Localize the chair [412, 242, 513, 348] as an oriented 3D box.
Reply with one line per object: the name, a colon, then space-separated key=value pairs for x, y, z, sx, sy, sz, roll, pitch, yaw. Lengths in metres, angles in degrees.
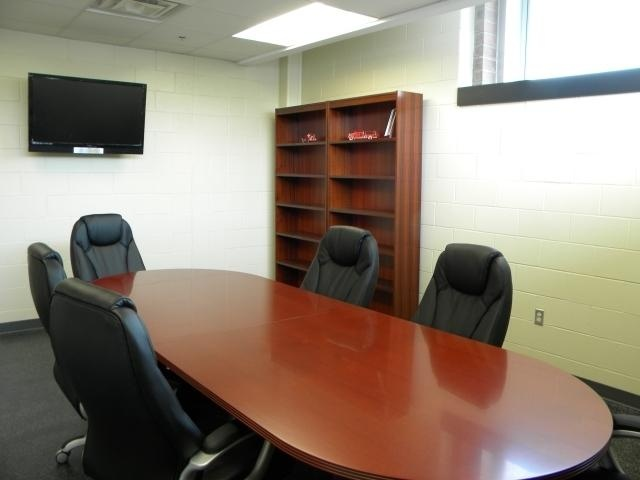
chair: x=0.853 y=0.219 z=2.764 sx=0.488 sy=0.745 sz=0.560 roll=11 pitch=12 yaw=42

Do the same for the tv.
tv: x=-2.273 y=-1.218 z=4.388 sx=0.794 sy=0.612 sz=0.082 roll=-3 pitch=18 yaw=-31

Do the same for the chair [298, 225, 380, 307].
chair: x=0.214 y=0.142 z=3.366 sx=0.456 sy=0.723 sz=0.550 roll=11 pitch=5 yaw=36
